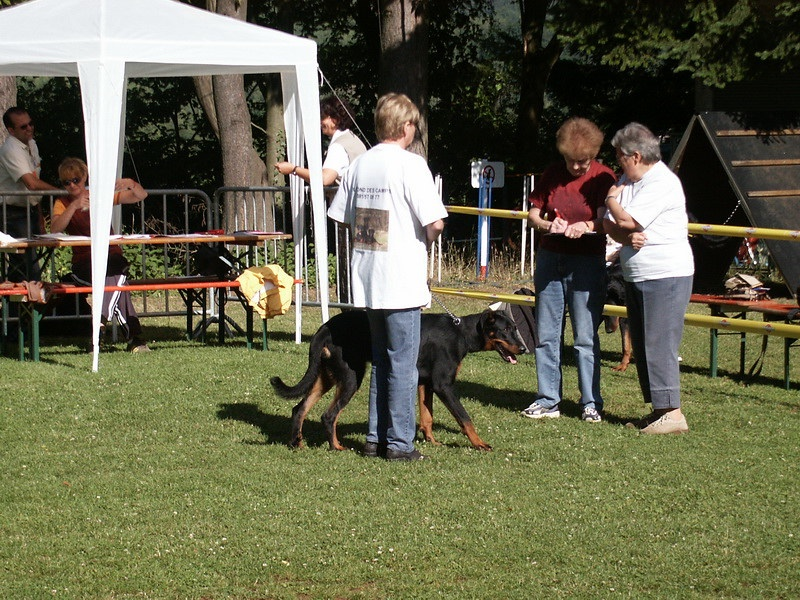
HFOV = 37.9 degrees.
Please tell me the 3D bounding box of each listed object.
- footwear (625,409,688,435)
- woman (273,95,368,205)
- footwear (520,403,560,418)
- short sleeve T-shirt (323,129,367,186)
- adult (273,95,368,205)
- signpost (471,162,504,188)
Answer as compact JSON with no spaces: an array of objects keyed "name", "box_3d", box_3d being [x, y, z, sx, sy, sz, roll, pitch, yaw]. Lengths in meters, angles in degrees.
[{"name":"footwear","box_3d":[2.338,1.110,10.516,0.351,0.180,0.236,1,-2,-3]},{"name":"woman","box_3d":[-0.919,-1.772,13.031,0.987,1.117,0.840,1,11,8]},{"name":"footwear","box_3d":[1.303,1.036,10.851,0.335,0.187,0.149,4,-3,-4]},{"name":"short sleeve T-shirt","box_3d":[-0.665,-1.657,13.061,0.405,0.845,0.810,4,7,19]},{"name":"adult","box_3d":[-0.835,-1.745,13.036,0.987,1.117,0.840,1,11,8]},{"name":"signpost","box_3d":[1.556,-2.222,20.562,0.537,0.469,0.403,5,15,16]}]
